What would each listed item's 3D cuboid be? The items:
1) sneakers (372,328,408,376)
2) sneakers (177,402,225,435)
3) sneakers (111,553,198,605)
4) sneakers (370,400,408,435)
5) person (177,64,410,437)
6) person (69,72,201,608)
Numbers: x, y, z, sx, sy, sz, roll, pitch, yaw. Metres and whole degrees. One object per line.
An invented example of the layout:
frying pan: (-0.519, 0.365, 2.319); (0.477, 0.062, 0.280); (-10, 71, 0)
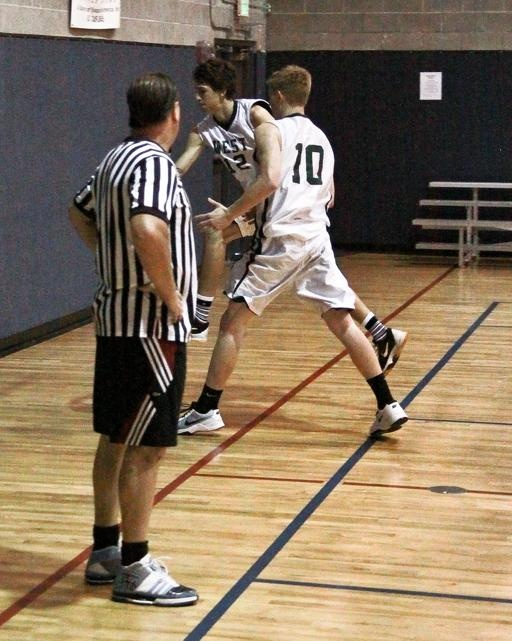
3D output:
sneakers: (0.657, 0.158, 3.479); (0.136, 0.105, 0.279); (10, -33, -1)
sneakers: (-0.248, 0.444, 3.113); (0.322, 0.133, 0.115); (0, -1, -10)
sneakers: (-0.226, 0.561, 1.547); (0.236, 0.117, 0.081); (5, -2, -1)
sneakers: (0.540, 0.415, 2.932); (0.083, 0.094, 0.208); (-5, -24, -33)
person: (0.190, -0.297, 2.937); (1.084, 1.594, 0.736); (-4, 10, -19)
person: (-0.253, 0.064, 1.514); (0.263, 1.157, 0.407); (-6, 11, -26)
